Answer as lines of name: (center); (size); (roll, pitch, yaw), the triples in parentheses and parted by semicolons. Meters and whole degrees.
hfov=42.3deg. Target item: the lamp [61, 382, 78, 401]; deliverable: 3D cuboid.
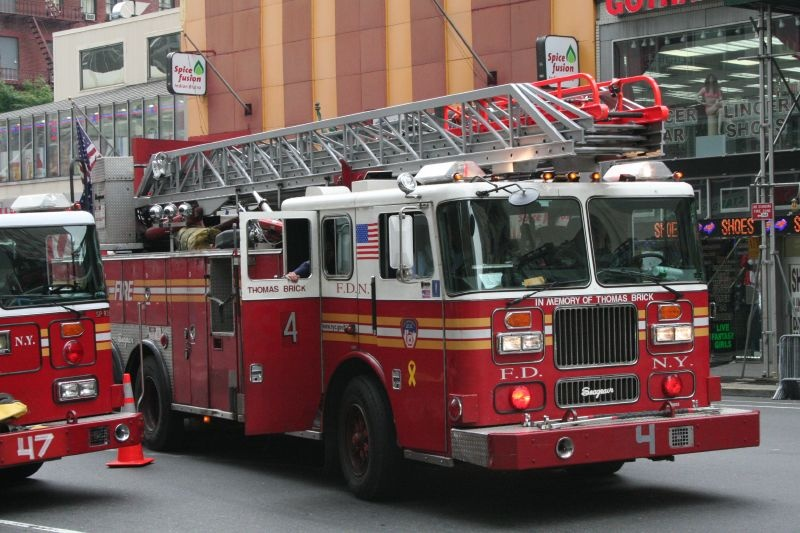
lamp: (-4.309, 1.588, 13.254); (0.210, 0.198, 0.208); (-1, -13, -22)

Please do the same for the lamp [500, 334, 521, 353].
lamp: (1.294, 0.899, 12.141); (0.289, 0.220, 0.061); (-2, 3, -5)

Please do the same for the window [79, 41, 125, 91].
window: (-13.950, -9.181, 47.704); (2.895, 2.054, 0.157); (-1, 3, 27)

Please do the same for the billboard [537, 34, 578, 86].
billboard: (4.237, -5.137, 26.196); (0.248, 1.326, 1.497); (-14, 19, -23)

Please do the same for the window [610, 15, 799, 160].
window: (7.085, -3.927, 22.896); (4.788, 2.864, 0.066); (0, 0, 41)

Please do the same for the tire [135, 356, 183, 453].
tire: (-3.908, 2.228, 16.359); (0.318, 1.267, 1.247); (0, 36, -21)

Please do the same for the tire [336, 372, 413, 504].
tire: (-0.412, 2.152, 13.099); (0.397, 1.523, 1.003); (-3, 4, -32)

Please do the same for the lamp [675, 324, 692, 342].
lamp: (3.544, 0.816, 12.807); (0.228, 0.222, 0.205); (1, -3, -28)

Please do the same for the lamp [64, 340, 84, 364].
lamp: (-4.287, 1.090, 13.321); (0.281, 0.331, 0.153); (-7, 4, -44)

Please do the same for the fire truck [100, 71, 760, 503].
fire truck: (-0.944, 0.349, 16.845); (5.154, 5.403, 11.734); (-1, -1, -37)
